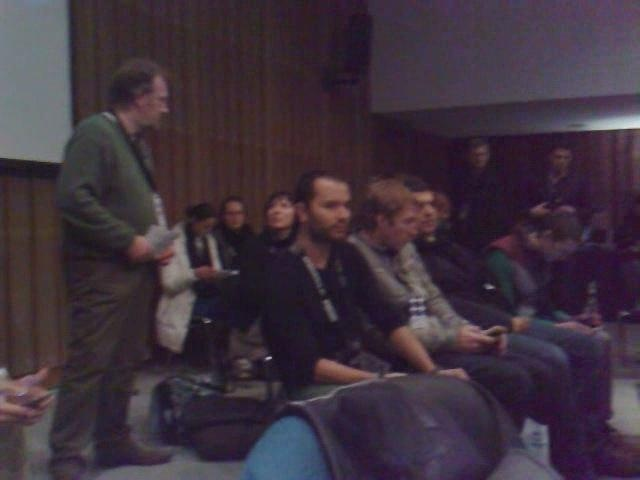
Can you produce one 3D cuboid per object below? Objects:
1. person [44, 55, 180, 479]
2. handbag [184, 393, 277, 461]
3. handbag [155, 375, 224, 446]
[{"bbox_3d":[-0.680,0.086,1.954,0.388,1.366,0.151,-2,5,-14],"label":"person"},{"bbox_3d":[-0.311,0.618,2.041,0.271,0.155,0.242,-5,-19,25],"label":"handbag"},{"bbox_3d":[-0.454,0.567,2.001,0.238,0.216,0.189,9,-16,-21],"label":"handbag"}]
